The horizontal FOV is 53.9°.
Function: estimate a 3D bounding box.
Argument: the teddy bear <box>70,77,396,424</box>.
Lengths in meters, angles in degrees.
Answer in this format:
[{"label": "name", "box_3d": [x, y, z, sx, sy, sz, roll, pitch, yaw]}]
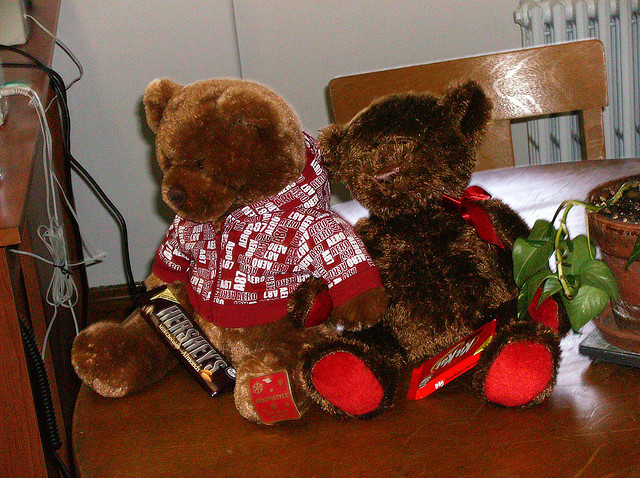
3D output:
[{"label": "teddy bear", "box_3d": [-0.130, 0.007, 1.009, 0.479, 0.501, 0.360, 8, 20, 24]}]

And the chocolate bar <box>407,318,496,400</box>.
[{"label": "chocolate bar", "box_3d": [0.179, 0.188, 0.897, 0.142, 0.024, 0.081, -37, 13, 19]}]

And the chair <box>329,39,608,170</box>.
[{"label": "chair", "box_3d": [0.453, -0.338, 1.551, 0.585, 0.335, 0.303, -7, 19, 10]}]

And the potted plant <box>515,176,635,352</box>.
[{"label": "potted plant", "box_3d": [0.362, 0.047, 0.889, 0.177, 0.174, 0.155, -36, 33, -14]}]

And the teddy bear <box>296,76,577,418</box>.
[{"label": "teddy bear", "box_3d": [0.159, 0.011, 0.958, 0.364, 0.435, 0.321, -9, 17, 22]}]
